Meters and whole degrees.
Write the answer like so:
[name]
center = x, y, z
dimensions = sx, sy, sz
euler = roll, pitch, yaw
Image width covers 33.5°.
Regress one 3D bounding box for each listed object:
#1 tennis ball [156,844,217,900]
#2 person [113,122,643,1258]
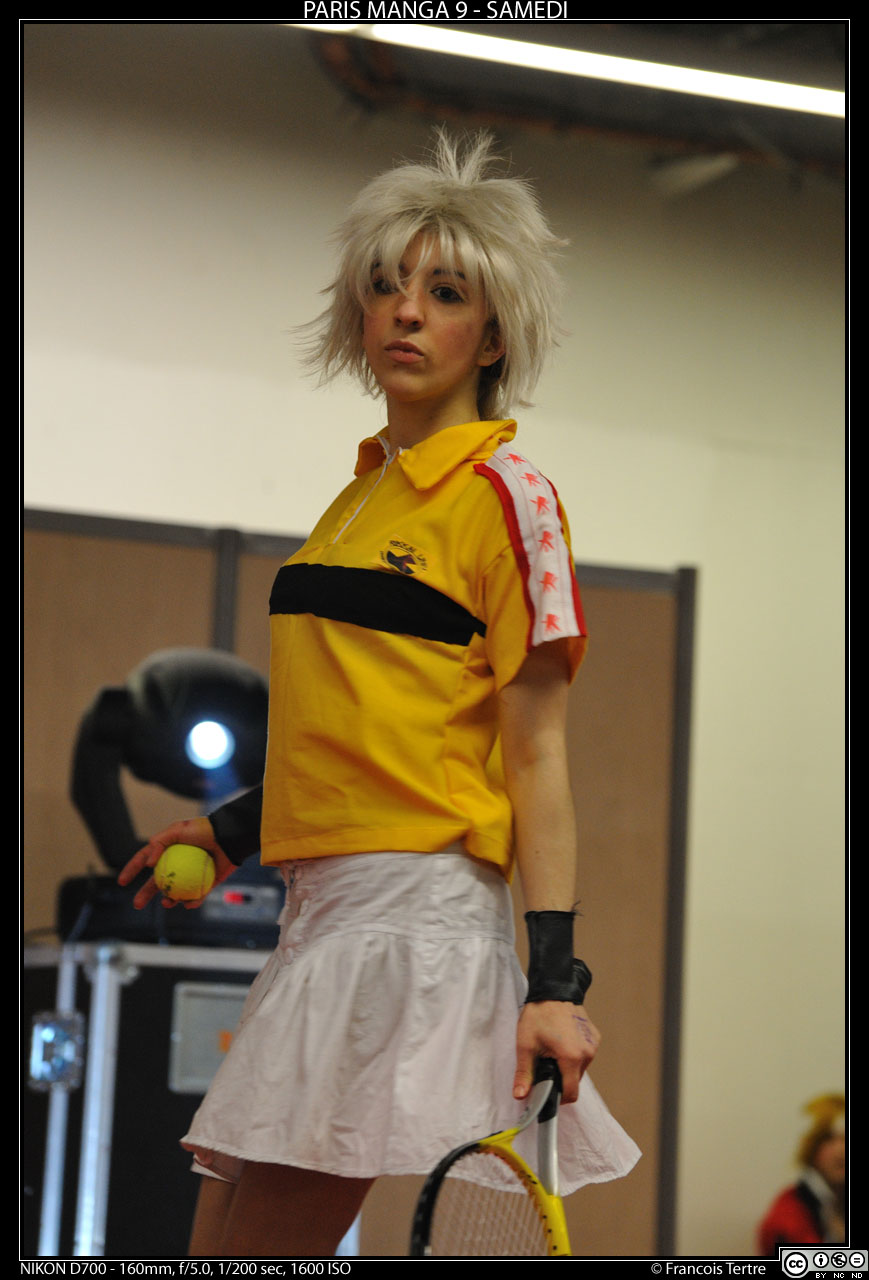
[tennis ball]
center = -0.232, 0.216, 1.342
dimensions = 0.054, 0.049, 0.053
euler = -2, -2, 0
[person]
center = -0.027, 0.004, 1.275
dimensions = 0.429, 1.052, 0.325
euler = 1, -5, 20
